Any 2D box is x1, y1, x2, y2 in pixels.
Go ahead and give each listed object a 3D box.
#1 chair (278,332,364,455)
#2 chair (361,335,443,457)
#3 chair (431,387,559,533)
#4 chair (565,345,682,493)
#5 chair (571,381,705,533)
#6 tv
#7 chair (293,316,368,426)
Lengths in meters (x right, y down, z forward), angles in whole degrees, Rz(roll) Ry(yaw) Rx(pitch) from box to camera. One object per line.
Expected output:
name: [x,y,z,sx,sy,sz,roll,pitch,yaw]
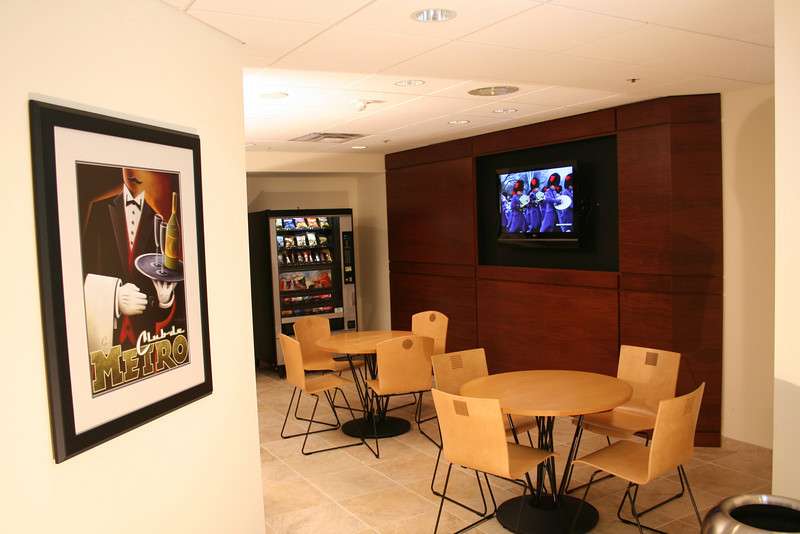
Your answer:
chair: [-0.815,1.270,5.901,0.869,1.096,0.950,-1,-1,42]
chair: [-0.017,1.156,5.766,0.634,1.036,0.696,-2,9,-22]
chair: [0.615,1.377,4.154,0.821,1.098,0.922,-4,5,3]
chair: [1.808,1.306,4.697,0.854,1.146,0.886,15,-39,-10]
chair: [1.758,1.354,4.079,0.792,1.127,1.033,-2,5,21]
tv: [1.533,-0.732,6.490,1.272,0.849,0.094,-8,17,-37]
chair: [-0.829,0.943,6.597,0.658,0.654,0.561,3,4,34]
